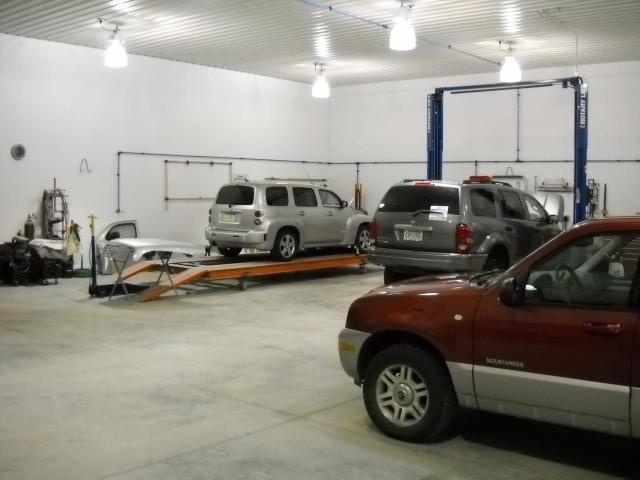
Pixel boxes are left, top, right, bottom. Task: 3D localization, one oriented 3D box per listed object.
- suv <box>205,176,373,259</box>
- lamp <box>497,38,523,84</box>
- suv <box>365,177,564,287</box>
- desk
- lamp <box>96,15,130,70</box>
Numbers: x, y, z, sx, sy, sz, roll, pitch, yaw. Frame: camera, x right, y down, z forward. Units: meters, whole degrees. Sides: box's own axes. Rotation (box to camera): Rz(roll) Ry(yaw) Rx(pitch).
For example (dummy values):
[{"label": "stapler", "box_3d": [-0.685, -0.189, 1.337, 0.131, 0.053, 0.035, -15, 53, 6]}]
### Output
[{"label": "suv", "box_3d": [-0.745, -0.562, 11.917, 3.909, 1.690, 2.000, -7, 7, -43]}, {"label": "lamp", "box_3d": [4.747, -4.501, 11.609, 0.487, 1.054, 0.471, -11, 10, -38]}, {"label": "suv", "box_3d": [2.778, -0.356, 8.629, 1.604, 1.559, 3.373, 2, 8, 43]}, {"label": "desk", "box_3d": [-3.697, 0.555, 10.160, 2.124, 1.040, 3.289, -2, 4, -22]}, {"label": "lamp", "box_3d": [-4.560, -4.403, 10.175, 0.506, 0.846, 0.386, -7, 15, -33]}]
